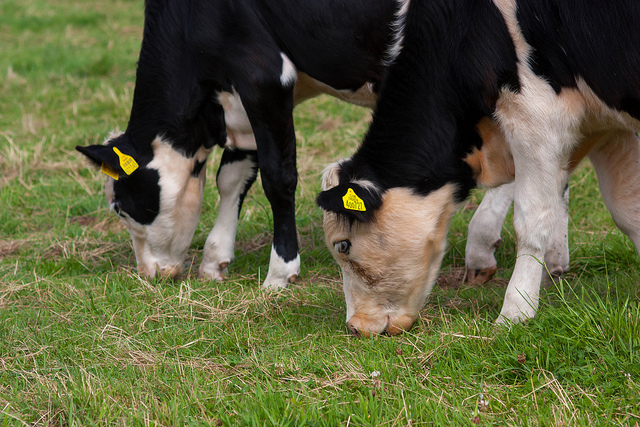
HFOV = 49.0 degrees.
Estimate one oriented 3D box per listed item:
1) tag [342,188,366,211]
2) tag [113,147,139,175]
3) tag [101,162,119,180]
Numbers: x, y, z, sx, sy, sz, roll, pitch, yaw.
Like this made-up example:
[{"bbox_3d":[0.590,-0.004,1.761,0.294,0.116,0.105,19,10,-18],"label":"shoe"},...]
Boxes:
[{"bbox_3d":[0.249,-0.097,5.282,0.019,0.138,0.141,145,128,-64],"label":"tag"},{"bbox_3d":[-1.814,-0.474,6.552,0.131,0.222,0.028,-47,17,-14],"label":"tag"},{"bbox_3d":[-1.950,-0.396,6.587,0.036,0.139,0.137,-53,17,-19],"label":"tag"}]
